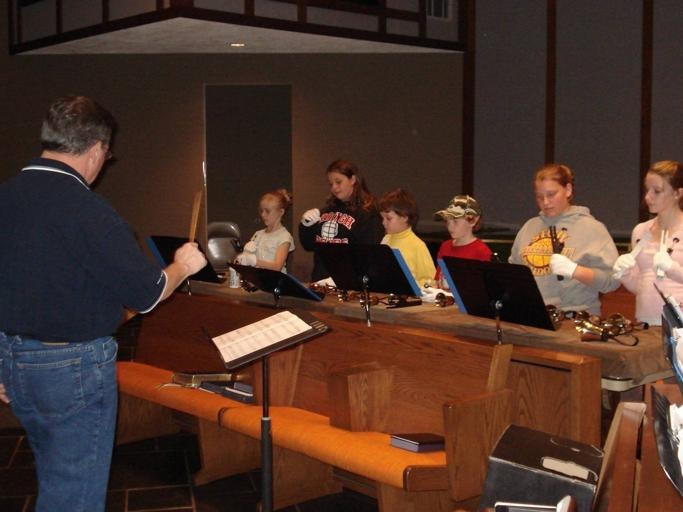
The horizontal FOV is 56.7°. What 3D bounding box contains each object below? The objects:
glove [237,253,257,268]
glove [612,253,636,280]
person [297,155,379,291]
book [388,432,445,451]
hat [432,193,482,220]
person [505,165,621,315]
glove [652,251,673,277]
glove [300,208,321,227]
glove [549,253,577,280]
[{"bbox_3d":[-0.676,0.024,4.482,0.109,0.068,0.145,6,2,9],"label":"glove"},{"bbox_3d":[1.439,0.051,3.265,0.151,0.088,0.040,-43,-1,-25],"label":"glove"},{"bbox_3d":[-0.003,-0.252,4.694,0.549,0.895,0.684,0,4,-9],"label":"person"},{"bbox_3d":[0.343,0.852,2.874,0.227,0.048,0.114,0,4,-7],"label":"book"},{"bbox_3d":[0.726,-0.304,3.889,0.235,0.117,0.147,1,-1,-16],"label":"hat"},{"bbox_3d":[1.212,-0.093,3.366,0.493,0.810,0.644,1,4,4],"label":"person"},{"bbox_3d":[1.613,0.035,3.174,0.099,0.134,0.045,5,-22,8],"label":"glove"},{"bbox_3d":[-0.240,-0.294,4.910,0.115,0.153,0.069,28,24,-4],"label":"glove"},{"bbox_3d":[1.101,0.049,3.145,0.121,0.110,0.090,3,4,29],"label":"glove"}]
